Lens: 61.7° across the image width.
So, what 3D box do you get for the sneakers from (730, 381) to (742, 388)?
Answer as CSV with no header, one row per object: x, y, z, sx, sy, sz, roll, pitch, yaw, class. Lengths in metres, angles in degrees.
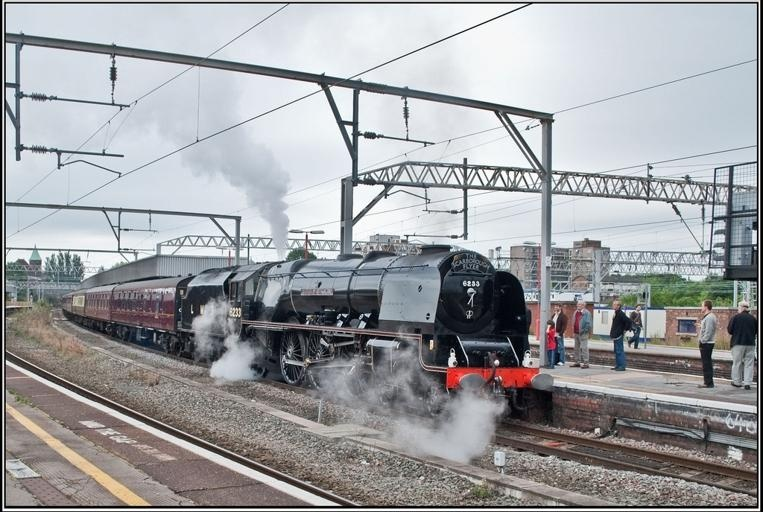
8.448,3.066,15.188,0.105,0.136,0.307,-1,6,-29,sneakers

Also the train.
-9.219,2.749,30.251,3.617,4.155,40.606,2,-4,-37,train

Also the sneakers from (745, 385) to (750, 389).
8.667,3.100,15.093,0.111,0.085,0.088,0,-1,3,sneakers

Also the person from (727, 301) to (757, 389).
8.621,2.127,15.227,0.582,2.022,0.733,-2,-3,29,person
